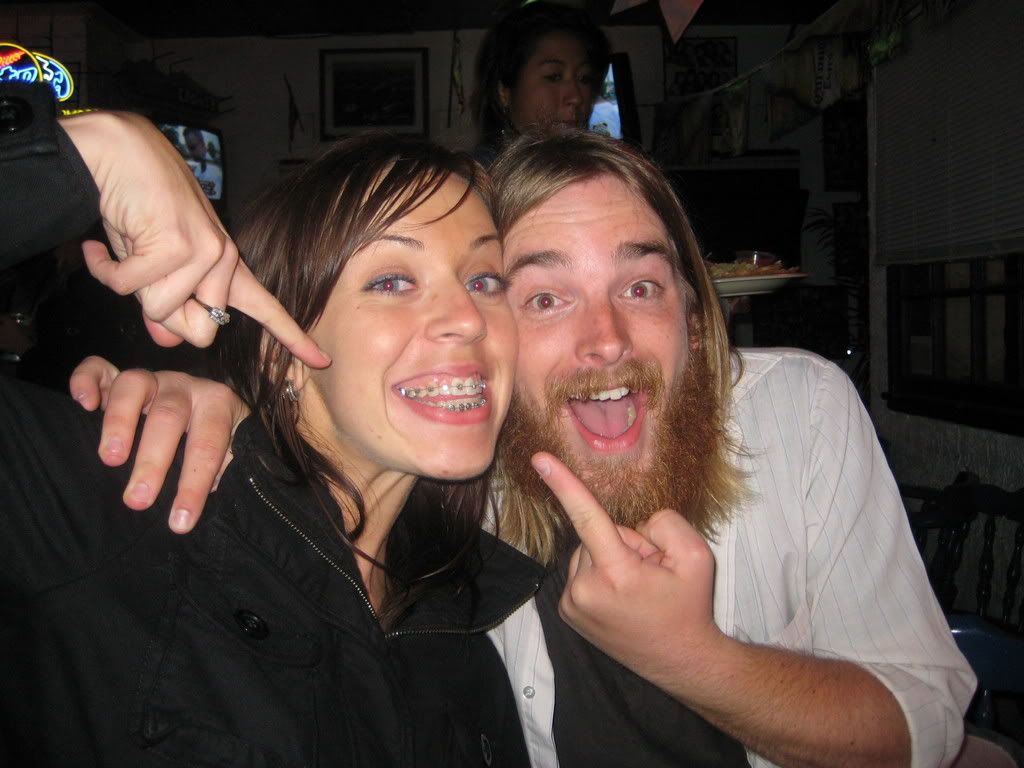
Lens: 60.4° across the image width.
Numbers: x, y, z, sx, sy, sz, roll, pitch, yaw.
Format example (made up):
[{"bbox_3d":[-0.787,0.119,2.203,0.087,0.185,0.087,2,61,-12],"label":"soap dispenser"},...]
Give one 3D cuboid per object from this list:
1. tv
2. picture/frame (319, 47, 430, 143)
[{"bbox_3d":[-3.421,-2.074,8.854,0.912,0.868,0.526,-14,11,5],"label":"tv"},{"bbox_3d":[-1.495,-3.109,9.499,1.200,0.916,0.039,-9,22,-28],"label":"picture/frame"}]
